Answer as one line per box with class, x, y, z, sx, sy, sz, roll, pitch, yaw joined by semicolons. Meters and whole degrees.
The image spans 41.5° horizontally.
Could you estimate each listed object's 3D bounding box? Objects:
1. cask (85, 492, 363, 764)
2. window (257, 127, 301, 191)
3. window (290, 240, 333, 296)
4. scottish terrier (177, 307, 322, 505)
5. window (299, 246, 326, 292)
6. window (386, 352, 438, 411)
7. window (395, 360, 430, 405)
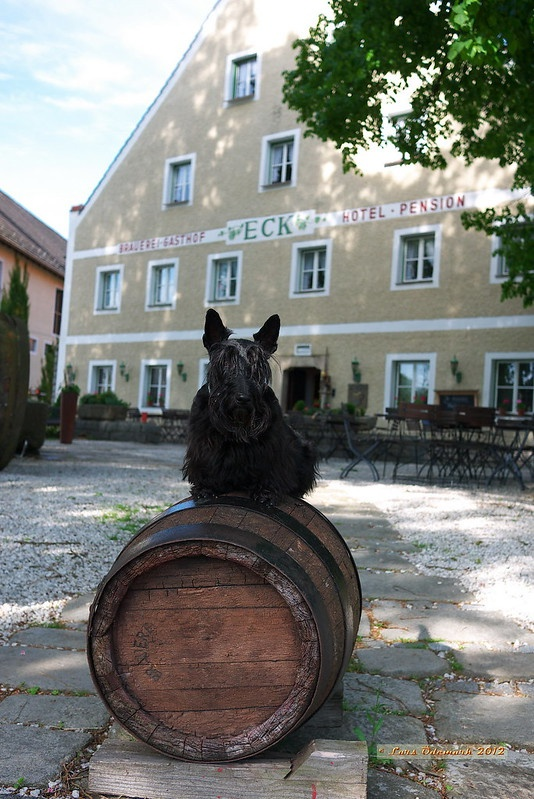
cask;-0.116;0.497;1.879;0.592;0.616;0.814;-14;4;13
window;0.405;-6.400;18.791;0.392;1.968;1.693;-5;13;-43
window;1.196;-3.366;18.025;1.525;1.773;0.404;4;3;45
scottish terrier;-0.062;0.044;1.800;0.338;0.429;0.496;0;-11;-1
window;1.188;-3.380;18.160;0.755;1.042;0.366;0;11;41
window;3.171;-0.394;15.186;1.304;1.780;0.184;3;3;39
window;3.305;-0.361;15.733;1.049;1.252;0.089;3;3;43
